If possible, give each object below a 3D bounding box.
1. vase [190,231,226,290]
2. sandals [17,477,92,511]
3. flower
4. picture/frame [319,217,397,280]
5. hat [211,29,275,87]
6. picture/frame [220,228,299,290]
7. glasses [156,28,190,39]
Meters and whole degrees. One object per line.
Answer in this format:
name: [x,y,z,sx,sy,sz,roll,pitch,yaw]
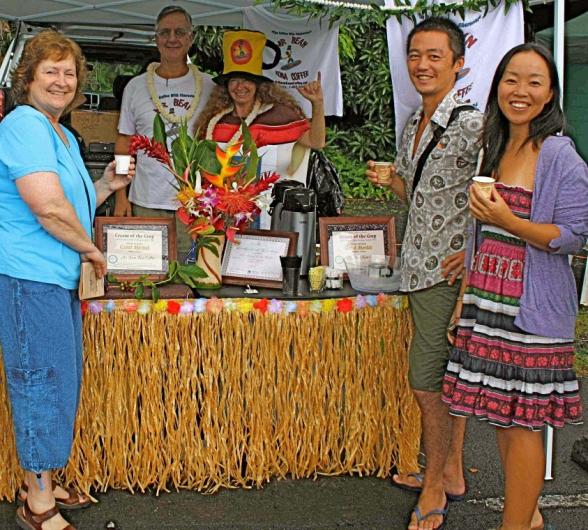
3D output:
vase: [-0.405,-0.018,3.321,0.170,0.229,0.175,-3,18,-11]
sandals: [-1.071,1.053,3.088,0.315,0.142,0.109,5,6,40]
flower: [-0.339,-0.390,3.255,0.521,0.552,0.243,1,7,-1]
picture/frame: [0.327,-0.091,3.524,0.406,0.333,0.029,2,12,23]
hat: [-0.312,-1.283,4.181,0.400,0.276,0.351,1,1,-12]
picture/frame: [-0.189,-0.039,3.402,0.379,0.290,0.083,3,-7,17]
glasses: [-0.818,-1.543,4.569,0.194,0.069,0.047,0,7,-6]
